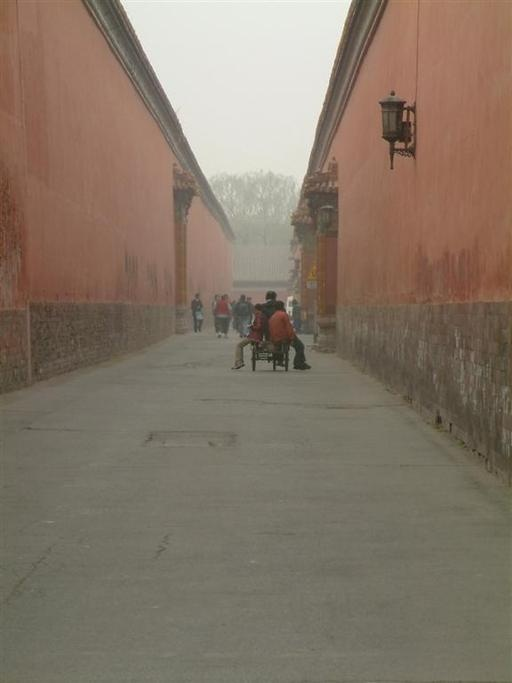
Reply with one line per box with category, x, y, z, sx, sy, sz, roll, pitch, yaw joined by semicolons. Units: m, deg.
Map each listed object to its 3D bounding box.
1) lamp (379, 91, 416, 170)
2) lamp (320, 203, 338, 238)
lamp;1.702;-2.564;9.138;0.402;0.848;0.933;0;5;10
lamp;2.007;-3.369;21.285;0.508;1.337;0.691;-1;3;-7
